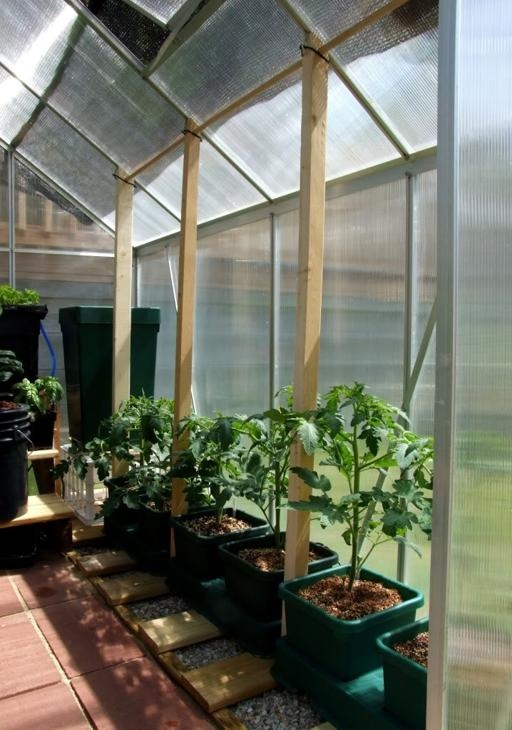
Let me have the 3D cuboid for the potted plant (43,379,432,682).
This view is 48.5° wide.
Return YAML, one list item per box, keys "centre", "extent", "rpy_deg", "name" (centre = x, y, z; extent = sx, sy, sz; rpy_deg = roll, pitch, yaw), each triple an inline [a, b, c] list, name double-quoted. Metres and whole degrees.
- centre: [-0.083, 0.385, 2.378]
  extent: [0.621, 0.746, 2.063]
  rpy_deg: [0, 1, -34]
  name: "potted plant"
